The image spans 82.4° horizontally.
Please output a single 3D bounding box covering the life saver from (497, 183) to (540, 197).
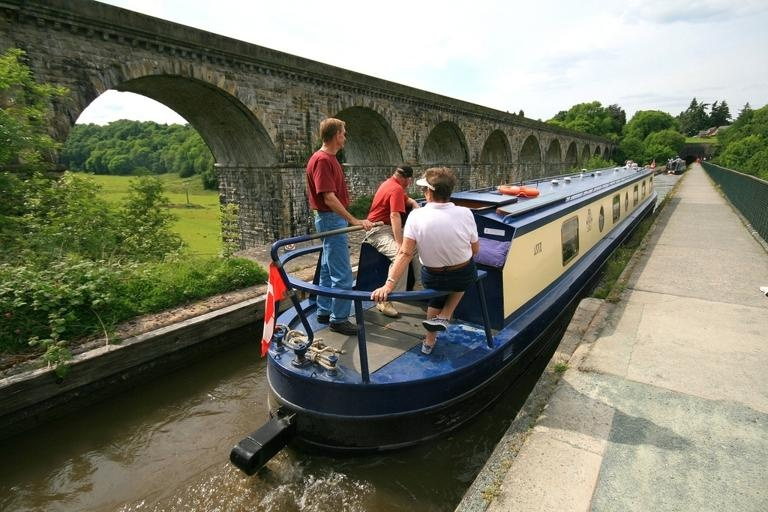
[{"bbox_3d":[2.250,-1.076,7.300,0.624,0.180,0.399,8,14,21],"label":"life saver"}]

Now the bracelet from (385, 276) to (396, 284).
[{"bbox_3d":[0.081,0.257,4.877,0.156,0.072,0.210,1,-2,3],"label":"bracelet"}]

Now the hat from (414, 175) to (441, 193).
[{"bbox_3d":[0.476,-0.829,4.897,0.230,0.066,0.169,29,13,17],"label":"hat"}]

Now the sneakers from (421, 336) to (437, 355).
[{"bbox_3d":[0.560,1.037,5.317,0.106,0.119,0.276,7,49,18],"label":"sneakers"}]

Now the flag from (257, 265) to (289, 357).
[{"bbox_3d":[-1.235,0.541,4.860,0.344,0.952,0.189,-9,16,-17],"label":"flag"}]

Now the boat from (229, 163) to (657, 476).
[{"bbox_3d":[2.293,0.046,7.762,2.549,2.035,9.694,12,21,36],"label":"boat"}]

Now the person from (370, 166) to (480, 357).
[{"bbox_3d":[0.567,0.118,4.994,1.253,2.176,0.464,-9,16,-20],"label":"person"}]

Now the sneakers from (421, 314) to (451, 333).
[{"bbox_3d":[0.606,0.769,5.052,0.325,0.132,0.144,10,37,5],"label":"sneakers"}]

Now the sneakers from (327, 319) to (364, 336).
[{"bbox_3d":[-0.501,0.919,5.637,0.457,0.178,0.207,1,7,12],"label":"sneakers"}]
